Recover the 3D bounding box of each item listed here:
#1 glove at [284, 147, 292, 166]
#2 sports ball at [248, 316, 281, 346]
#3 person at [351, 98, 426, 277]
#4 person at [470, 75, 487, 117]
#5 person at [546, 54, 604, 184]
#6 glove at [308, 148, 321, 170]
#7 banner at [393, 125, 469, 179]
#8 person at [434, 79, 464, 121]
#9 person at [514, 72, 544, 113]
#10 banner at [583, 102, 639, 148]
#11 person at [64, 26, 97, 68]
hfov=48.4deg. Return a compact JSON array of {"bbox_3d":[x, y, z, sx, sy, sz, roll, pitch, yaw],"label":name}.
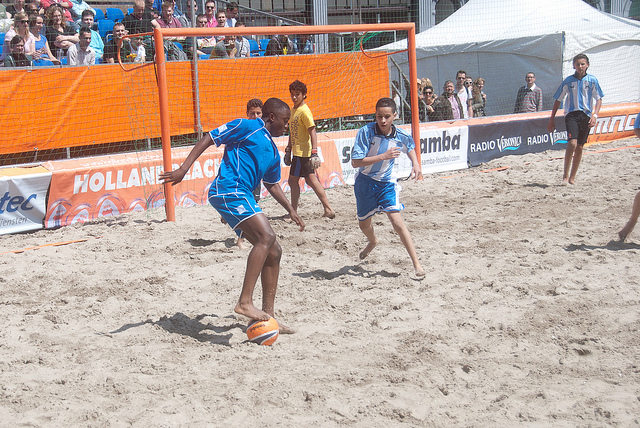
[{"bbox_3d":[-0.501,-0.908,11.117,0.078,0.225,0.166,5,-9,8],"label":"glove"},{"bbox_3d":[-0.606,1.290,7.776,0.306,0.303,0.310,-3,-30,-2],"label":"sports ball"},{"bbox_3d":[0.832,-0.350,8.934,0.826,2.163,0.819,-2,20,4],"label":"person"},{"bbox_3d":[3.668,-2.632,16.480,0.369,0.968,1.523,1,20,13],"label":"person"},{"bbox_3d":[4.558,-1.663,12.782,0.855,2.261,0.979,4,21,21],"label":"person"},{"bbox_3d":[-0.106,-0.848,11.011,0.170,0.367,0.210,-4,19,-2],"label":"glove"},{"bbox_3d":[2.595,-1.339,14.772,1.406,0.929,0.318,-15,22,-30],"label":"banner"},{"bbox_3d":[2.826,-2.438,15.372,0.706,0.804,0.520,-11,21,-20],"label":"person"},{"bbox_3d":[4.851,-2.798,16.616,0.659,0.939,0.452,6,21,24],"label":"person"},{"bbox_3d":[7.113,-2.204,17.157,0.610,0.837,1.981,14,25,40],"label":"banner"},{"bbox_3d":[-4.078,-2.808,12.302,0.439,0.771,0.487,22,25,37],"label":"person"}]
